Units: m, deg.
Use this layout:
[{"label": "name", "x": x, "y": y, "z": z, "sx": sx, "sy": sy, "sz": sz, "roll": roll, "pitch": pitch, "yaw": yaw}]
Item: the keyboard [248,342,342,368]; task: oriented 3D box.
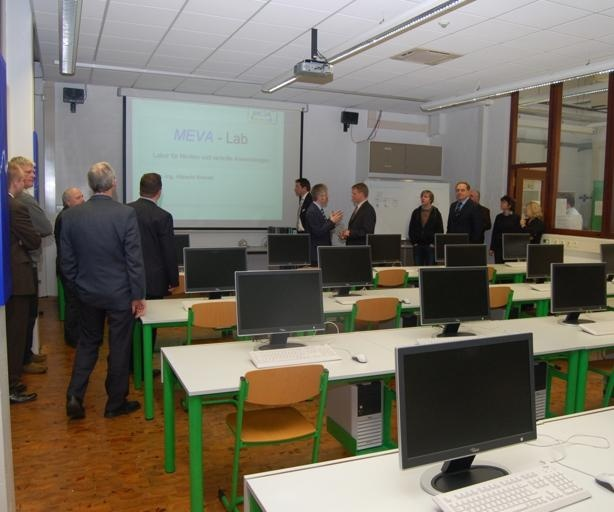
[{"label": "keyboard", "x": -0.070, "y": 0.573, "z": 3.110, "sx": 0.551, "sy": 0.033, "sz": 0.326, "roll": -2, "pitch": 9, "yaw": -20}]

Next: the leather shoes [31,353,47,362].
[{"label": "leather shoes", "x": -2.565, "y": 0.968, "z": 5.039, "sx": 0.146, "sy": 0.112, "sz": 0.059, "roll": 0, "pitch": 9, "yaw": -20}]

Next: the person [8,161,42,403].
[{"label": "person", "x": -2.214, "y": 0.209, "z": 4.076, "sx": 0.282, "sy": 1.849, "sz": 0.522, "roll": -5, "pitch": 10, "yaw": -34}]

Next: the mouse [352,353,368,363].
[{"label": "mouse", "x": 0.308, "y": 0.583, "z": 3.053, "sx": 0.087, "sy": 0.040, "sz": 0.124, "roll": 2, "pitch": 9, "yaw": 4}]

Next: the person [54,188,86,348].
[{"label": "person", "x": -2.455, "y": 0.157, "z": 5.409, "sx": 0.465, "sy": 1.699, "sz": 0.411, "roll": -4, "pitch": 17, "yaw": -31}]

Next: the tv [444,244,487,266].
[{"label": "tv", "x": 1.606, "y": -0.014, "z": 5.263, "sx": 0.497, "sy": 0.219, "sz": 0.197, "roll": -3, "pitch": 9, "yaw": -24}]

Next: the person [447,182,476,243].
[{"label": "person", "x": 2.274, "y": -0.657, "z": 7.679, "sx": 0.398, "sy": 0.845, "sz": 0.468, "roll": 3, "pitch": 8, "yaw": 11}]

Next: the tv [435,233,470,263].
[{"label": "tv", "x": 1.632, "y": -0.101, "z": 5.928, "sx": 0.326, "sy": 0.250, "sz": 0.034, "roll": -2, "pitch": -5, "yaw": -29}]

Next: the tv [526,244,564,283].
[{"label": "tv", "x": 2.260, "y": 0.048, "z": 4.983, "sx": 0.362, "sy": 0.547, "sz": 0.055, "roll": 4, "pitch": 9, "yaw": -4}]

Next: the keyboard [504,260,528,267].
[{"label": "keyboard", "x": 2.767, "y": 0.097, "z": 6.927, "sx": 0.280, "sy": 0.051, "sz": 0.093, "roll": -1, "pitch": 22, "yaw": -38}]

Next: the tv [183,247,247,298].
[{"label": "tv", "x": -0.742, "y": 0.116, "z": 4.224, "sx": 0.410, "sy": 0.332, "sz": 0.122, "roll": -1, "pitch": 2, "yaw": -22}]

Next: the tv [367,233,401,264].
[{"label": "tv", "x": 0.912, "y": -0.101, "z": 6.291, "sx": 0.338, "sy": 0.371, "sz": 0.123, "roll": -2, "pitch": 2, "yaw": -19}]

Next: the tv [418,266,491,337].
[{"label": "tv", "x": 0.986, "y": 0.307, "z": 3.524, "sx": 0.472, "sy": 0.482, "sz": 0.156, "roll": -2, "pitch": 2, "yaw": -5}]

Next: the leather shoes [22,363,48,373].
[{"label": "leather shoes", "x": -2.463, "y": 1.006, "z": 4.763, "sx": 0.213, "sy": 0.093, "sz": 0.076, "roll": 1, "pitch": 9, "yaw": -6}]

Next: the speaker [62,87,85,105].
[{"label": "speaker", "x": -3.367, "y": -2.328, "z": 7.576, "sx": 0.352, "sy": 0.257, "sz": 0.194, "roll": -5, "pitch": 17, "yaw": -29}]

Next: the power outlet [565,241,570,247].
[{"label": "power outlet", "x": 3.808, "y": -0.185, "z": 7.683, "sx": 0.022, "sy": 0.071, "sz": 0.086, "roll": -3, "pitch": 9, "yaw": -25}]

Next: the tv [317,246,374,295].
[{"label": "tv", "x": 0.333, "y": 0.111, "z": 4.649, "sx": 0.427, "sy": 0.338, "sz": 0.129, "roll": -2, "pitch": 0, "yaw": -23}]

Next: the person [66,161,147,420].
[{"label": "person", "x": -1.437, "y": 0.272, "z": 3.704, "sx": 0.550, "sy": 1.847, "sz": 0.256, "roll": -2, "pitch": 9, "yaw": -18}]

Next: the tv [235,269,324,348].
[{"label": "tv", "x": -0.171, "y": 0.314, "z": 3.244, "sx": 0.426, "sy": 0.387, "sz": 0.101, "roll": -3, "pitch": 2, "yaw": -18}]

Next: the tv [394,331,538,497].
[{"label": "tv", "x": 0.593, "y": 0.599, "z": 1.950, "sx": 0.493, "sy": 0.483, "sz": 0.185, "roll": -3, "pitch": 1, "yaw": -25}]

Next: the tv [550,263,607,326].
[{"label": "tv", "x": 2.012, "y": 0.272, "z": 3.891, "sx": 0.418, "sy": 0.443, "sz": 0.146, "roll": 0, "pitch": -1, "yaw": -20}]
